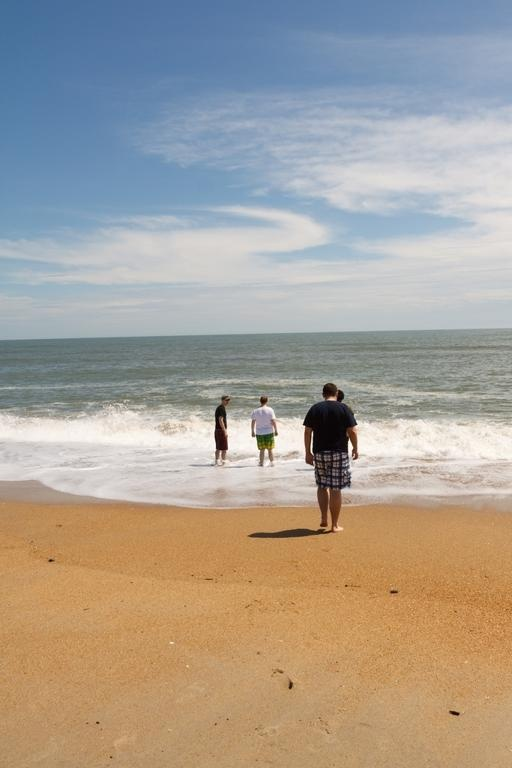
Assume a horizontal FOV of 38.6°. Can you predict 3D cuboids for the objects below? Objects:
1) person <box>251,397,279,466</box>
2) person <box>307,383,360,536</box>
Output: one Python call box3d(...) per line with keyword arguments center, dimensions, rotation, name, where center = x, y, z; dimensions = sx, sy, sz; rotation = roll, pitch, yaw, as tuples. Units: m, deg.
box3d(center=(0.134, 0.751, 11.563), dimensions=(0.352, 1.191, 0.705), rotation=(-1, 6, 1), name="person")
box3d(center=(0.706, 0.713, 6.885), dimensions=(0.477, 1.475, 0.628), rotation=(0, 6, 6), name="person")
